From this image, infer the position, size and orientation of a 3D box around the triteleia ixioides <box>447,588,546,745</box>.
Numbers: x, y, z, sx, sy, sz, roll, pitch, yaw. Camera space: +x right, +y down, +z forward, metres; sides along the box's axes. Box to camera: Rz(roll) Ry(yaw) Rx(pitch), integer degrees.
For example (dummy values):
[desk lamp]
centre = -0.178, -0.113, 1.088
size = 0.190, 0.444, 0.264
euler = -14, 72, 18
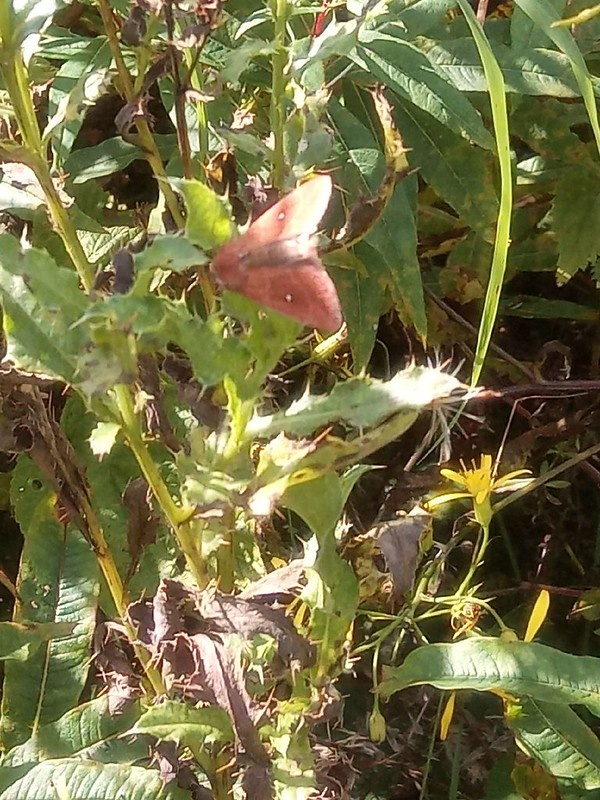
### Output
[triteleia ixioides]
centre = 0.103, 0.166, 0.514
size = 0.073, 0.127, 0.062
euler = -1, 22, 1
